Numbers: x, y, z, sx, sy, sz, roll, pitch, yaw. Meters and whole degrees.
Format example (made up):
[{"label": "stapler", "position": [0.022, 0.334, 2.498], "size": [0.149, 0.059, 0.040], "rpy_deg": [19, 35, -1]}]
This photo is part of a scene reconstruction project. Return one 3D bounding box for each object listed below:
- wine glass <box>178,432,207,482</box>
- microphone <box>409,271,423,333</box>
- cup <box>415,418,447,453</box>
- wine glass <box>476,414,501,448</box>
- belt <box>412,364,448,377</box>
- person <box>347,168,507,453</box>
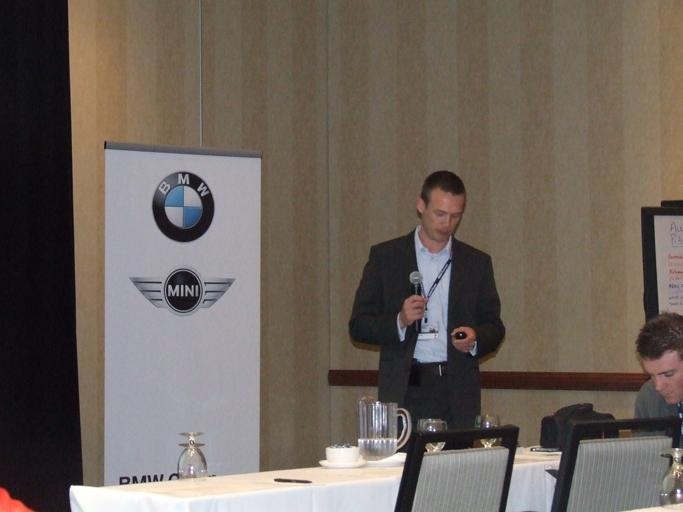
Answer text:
[{"label": "wine glass", "position": [-0.758, 1.014, 6.515], "size": [0.129, 0.237, 0.145], "rpy_deg": [-1, -7, -8]}, {"label": "microphone", "position": [0.445, 0.277, 7.683], "size": [0.085, 0.298, 0.335], "rpy_deg": [1, 0, 4]}, {"label": "cup", "position": [0.466, 0.914, 6.601], "size": [0.123, 0.184, 0.141], "rpy_deg": [0, -7, 0]}, {"label": "wine glass", "position": [0.769, 0.911, 6.728], "size": [0.121, 0.257, 0.149], "rpy_deg": [0, -8, 2]}, {"label": "belt", "position": [0.521, 0.669, 7.653], "size": [0.202, 0.063, 0.025], "rpy_deg": [2, 0, 4]}, {"label": "person", "position": [0.535, 0.737, 7.726], "size": [0.770, 2.481, 0.720], "rpy_deg": [3, -10, -11]}]
